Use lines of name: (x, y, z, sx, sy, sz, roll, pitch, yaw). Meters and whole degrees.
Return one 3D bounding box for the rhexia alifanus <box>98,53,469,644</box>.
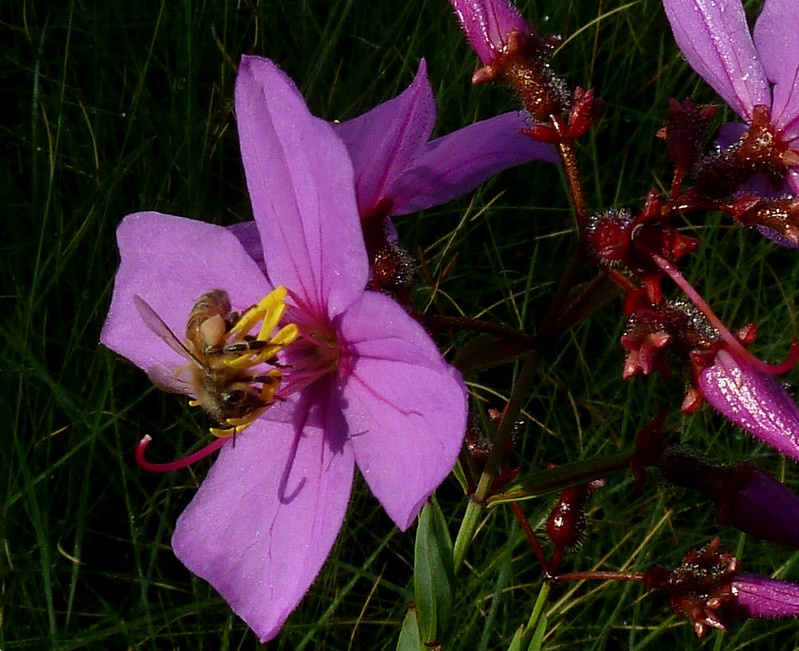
rhexia alifanus: (-0.164, 0.063, 1.910, 0.673, 1.073, 0.357, 11, 10, 35)
